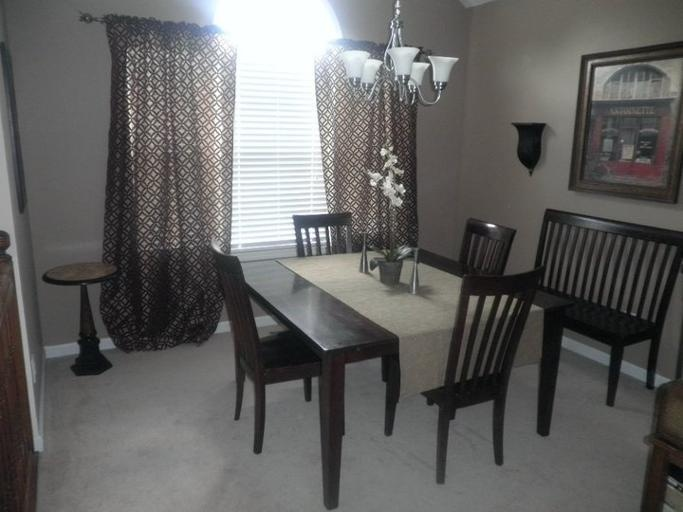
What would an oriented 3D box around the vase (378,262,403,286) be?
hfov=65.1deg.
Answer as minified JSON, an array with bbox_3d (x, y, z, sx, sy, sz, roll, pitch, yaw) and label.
[{"bbox_3d":[0.302,0.107,3.329,0.140,0.121,0.139,2,4,-5],"label":"vase"}]

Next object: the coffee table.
[{"bbox_3d":[-1.885,0.463,3.921,0.462,0.776,0.540,-12,20,-42],"label":"coffee table"}]
